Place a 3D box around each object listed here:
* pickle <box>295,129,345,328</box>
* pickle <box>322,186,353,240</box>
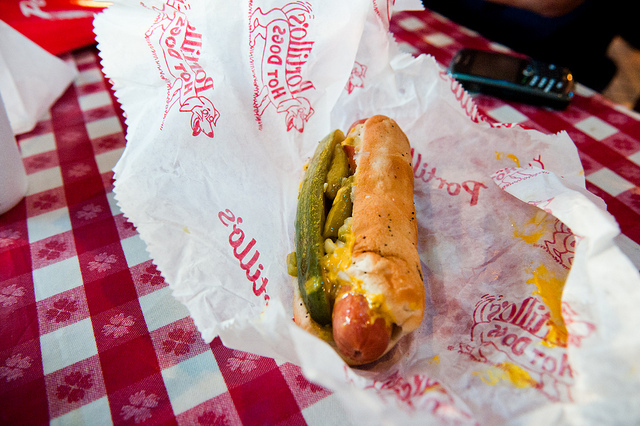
[{"bbox_3d":[0.013,-0.010,3.558,0.296,0.356,1.466,-1,52,11],"label":"pickle"},{"bbox_3d":[0.115,0.022,3.516,0.120,0.134,0.406,21,75,8],"label":"pickle"}]
